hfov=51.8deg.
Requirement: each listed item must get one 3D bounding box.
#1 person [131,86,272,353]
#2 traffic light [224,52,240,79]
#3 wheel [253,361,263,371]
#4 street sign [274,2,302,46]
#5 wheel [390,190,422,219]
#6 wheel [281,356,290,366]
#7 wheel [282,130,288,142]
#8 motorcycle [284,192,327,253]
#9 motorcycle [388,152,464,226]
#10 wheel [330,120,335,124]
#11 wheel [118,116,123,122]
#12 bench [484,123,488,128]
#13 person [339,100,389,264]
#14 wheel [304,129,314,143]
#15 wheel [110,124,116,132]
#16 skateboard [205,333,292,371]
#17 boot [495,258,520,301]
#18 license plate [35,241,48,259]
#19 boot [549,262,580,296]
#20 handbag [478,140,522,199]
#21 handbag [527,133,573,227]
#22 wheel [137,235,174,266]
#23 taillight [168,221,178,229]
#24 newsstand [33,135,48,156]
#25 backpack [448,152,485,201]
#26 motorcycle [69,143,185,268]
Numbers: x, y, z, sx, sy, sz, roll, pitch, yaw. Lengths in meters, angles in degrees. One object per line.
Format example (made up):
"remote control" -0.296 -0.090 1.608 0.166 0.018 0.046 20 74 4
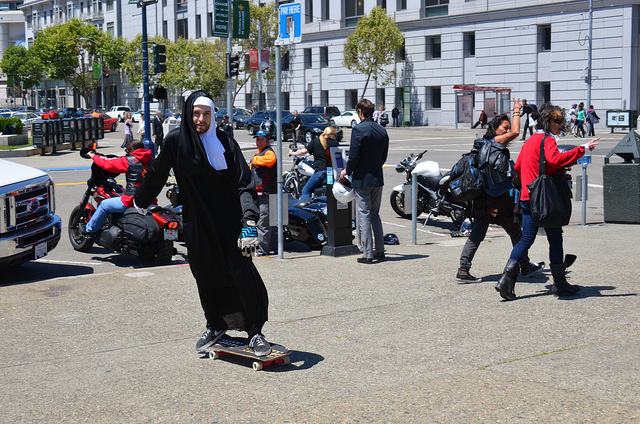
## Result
"person" -0.898 0.126 6.222 0.910 2.496 0.359 3 11 22
"traffic light" -2.883 -4.808 21.604 0.379 0.853 0.901 -3 10 -7
"wheel" -0.582 1.435 6.124 0.074 0.073 0.091 1 4 31
"street sign" -0.512 -3.065 10.661 0.416 0.757 0.896 -2 10 -3
"wheel" 1.775 -0.156 13.462 0.674 0.660 0.138 2 5 9
"wheel" -0.321 1.409 6.236 0.071 0.093 0.088 -1 -14 -14
"wheel" -2.051 -4.486 38.756 0.189 0.550 0.410 0 10 8
"motorcycle" -0.204 0.245 11.417 0.742 0.860 0.733 1 10 12
"motorcycle" 1.754 -0.398 12.981 0.911 1.176 2.017 -4 17 -37
"wheel" 0.922 -6.629 48.252 0.302 0.307 0.557 -1 -4 11
"wheel" -20.318 -9.621 66.954 0.366 0.963 1.003 -4 8 -27
"bench" 11.519 -6.044 45.824 0.159 0.368 1.407 1 10 13
"person" 0.691 -0.448 9.908 0.674 2.447 0.536 -6 11 -25
"wheel" -0.587 -4.150 35.912 0.474 0.750 1.583 -2 10 -4
"wheel" -15.956 -6.521 50.634 0.227 0.593 0.616 15 0 12
"skateboard" -0.726 1.326 6.307 0.927 0.153 0.301 4 9 43
"boot" 2.334 0.814 8.115 0.218 0.434 0.471 22 -1 37
"license plate" -4.020 0.540 9.474 0.040 0.198 0.292 2 8 22
"boot" 3.059 0.836 8.147 0.429 0.402 0.215 -8 -2 35
"handbag" 2.355 -0.541 8.713 0.437 0.751 0.672 -12 25 15
"handbag" 2.805 -0.383 7.953 0.555 1.106 0.388 -2 10 -3
"wheel" -2.511 0.569 10.020 0.507 0.480 0.214 2 3 43
"taillight" -2.216 0.193 9.872 0.114 0.075 0.015 -1 13 -8
"newsstand" -12.950 -3.125 30.565 0.611 0.942 0.546 -5 11 -23
"backpack" 1.943 -0.466 8.852 0.390 0.661 0.551 -3 10 -9
"motorcycle" -3.228 -0.042 10.622 2.661 1.667 1.285 10 4 37
